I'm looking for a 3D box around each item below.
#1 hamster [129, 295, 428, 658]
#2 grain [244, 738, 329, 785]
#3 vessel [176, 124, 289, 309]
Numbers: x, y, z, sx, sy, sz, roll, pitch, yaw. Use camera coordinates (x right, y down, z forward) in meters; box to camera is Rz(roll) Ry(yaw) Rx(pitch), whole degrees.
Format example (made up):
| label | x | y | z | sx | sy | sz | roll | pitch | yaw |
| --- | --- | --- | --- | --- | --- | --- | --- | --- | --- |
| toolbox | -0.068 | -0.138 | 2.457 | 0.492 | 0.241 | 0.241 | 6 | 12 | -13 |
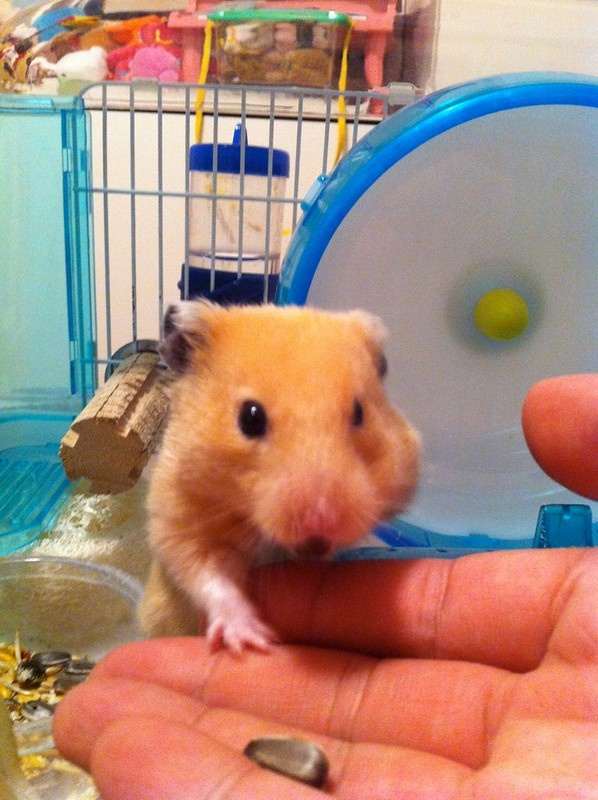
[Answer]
| label | x | y | z | sx | sy | sz | roll | pitch | yaw |
| --- | --- | --- | --- | --- | --- | --- | --- | --- | --- |
| hamster | -0.027 | 0.063 | 0.611 | 0.185 | 0.247 | 0.362 | 0 | -6 | -16 |
| grain | -0.008 | 0.221 | 0.470 | 0.047 | 0.019 | 0.027 | 21 | 7 | 12 |
| vessel | -0.073 | -0.226 | 0.974 | 0.135 | 0.247 | 0.155 | 0 | 18 | -4 |
